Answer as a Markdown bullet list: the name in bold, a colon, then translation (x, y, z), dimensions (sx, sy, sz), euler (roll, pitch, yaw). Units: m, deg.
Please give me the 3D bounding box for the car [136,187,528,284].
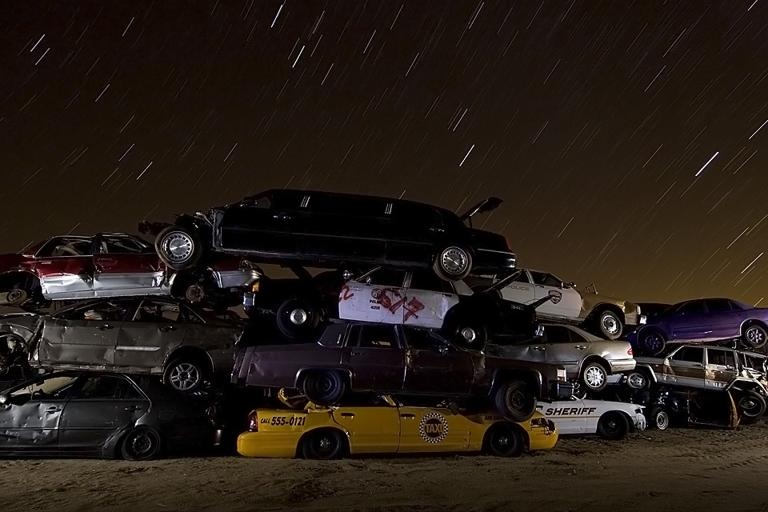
- **car**: translation (-1.171, -0.711, 13.359), dimensions (9.775, 2.684, 3.037), euler (4, -8, -8)
